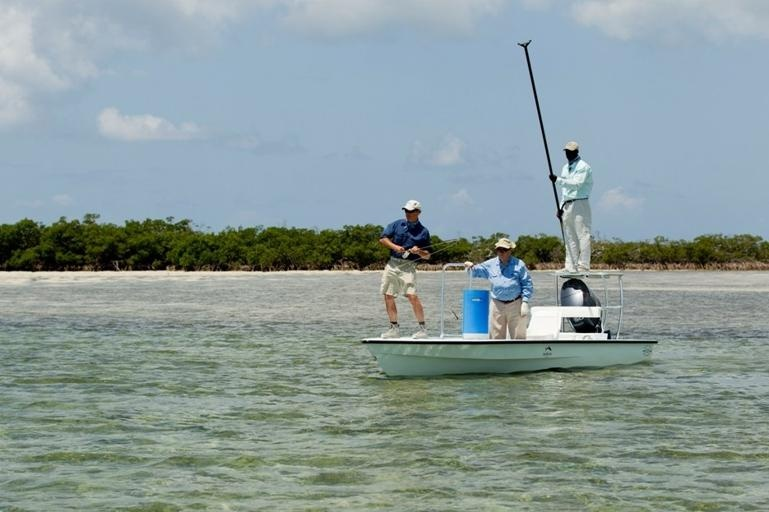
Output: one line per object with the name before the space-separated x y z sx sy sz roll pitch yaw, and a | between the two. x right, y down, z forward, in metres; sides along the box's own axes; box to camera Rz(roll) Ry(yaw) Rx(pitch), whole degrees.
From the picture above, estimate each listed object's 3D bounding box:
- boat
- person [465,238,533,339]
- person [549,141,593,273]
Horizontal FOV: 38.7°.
boat | 2.550 1.610 23.236 6.258 2.250 2.474 -1 -2 -15
person | 2.388 0.686 21.956 1.024 2.096 0.488 1 15 7
person | 4.010 -1.020 23.096 0.730 2.789 0.891 2 15 8
